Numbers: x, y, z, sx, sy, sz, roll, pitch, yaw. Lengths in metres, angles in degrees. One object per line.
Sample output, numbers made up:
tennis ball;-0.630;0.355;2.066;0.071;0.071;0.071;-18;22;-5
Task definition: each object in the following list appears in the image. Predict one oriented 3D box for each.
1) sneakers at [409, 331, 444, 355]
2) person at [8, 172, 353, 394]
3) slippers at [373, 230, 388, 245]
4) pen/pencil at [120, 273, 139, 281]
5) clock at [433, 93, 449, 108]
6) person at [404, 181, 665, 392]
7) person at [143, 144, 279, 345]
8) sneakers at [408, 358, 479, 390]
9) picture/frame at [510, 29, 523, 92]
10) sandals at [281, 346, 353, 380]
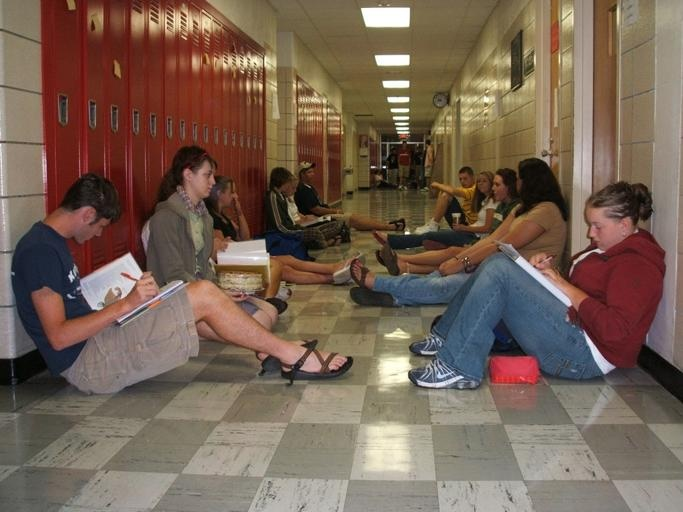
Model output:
sneakers;0.509;0.526;2.857;0.248;0.104;0.091;0;18;8
person;-0.748;0.170;2.451;1.562;0.927;0.635;4;7;-18
slippers;0.448;-0.211;5.596;0.144;0.100;0.326;0;-10;9
pen/pencil;-1.085;0.105;2.400;0.111;0.025;0.016;14;2;-2
clock;3.251;-5.131;15.574;0.510;0.434;0.610;0;10;3
person;0.957;0.139;2.470;1.254;0.937;0.701;-1;9;11
person;-0.827;-0.137;3.122;0.899;1.100;0.649;1;7;2
sneakers;0.494;0.609;2.483;0.421;0.189;0.141;3;5;7
picture/frame;2.322;-2.564;6.208;0.035;0.621;0.602;15;37;41
sandals;-0.128;0.573;2.502;0.328;0.139;0.173;-3;21;-2
